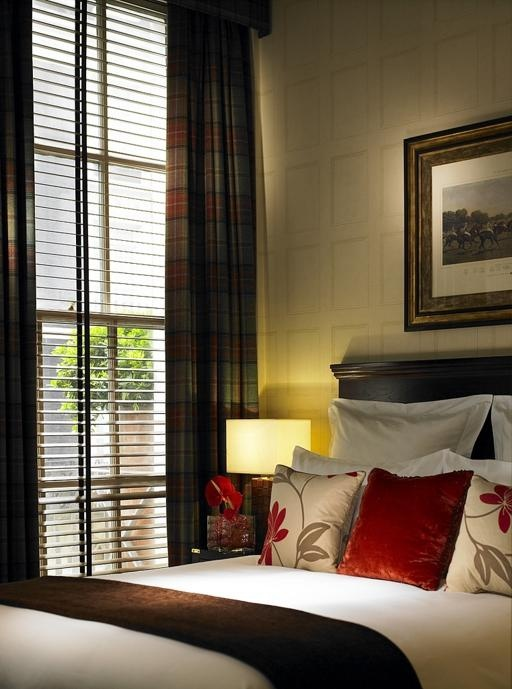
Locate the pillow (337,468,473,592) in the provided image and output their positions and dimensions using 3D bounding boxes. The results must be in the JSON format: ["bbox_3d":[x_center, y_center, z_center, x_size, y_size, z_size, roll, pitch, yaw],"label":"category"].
[{"bbox_3d":[0.463,0.556,2.016,0.109,0.357,0.365,35,-23,-26],"label":"pillow"}]

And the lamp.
[{"bbox_3d":[0.051,0.696,3.300,0.337,0.563,0.357,-8,-12,28],"label":"lamp"}]

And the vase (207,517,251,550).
[{"bbox_3d":[-0.125,0.889,3.172,0.170,0.151,0.170,3,-5,-42],"label":"vase"}]

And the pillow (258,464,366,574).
[{"bbox_3d":[0.165,0.643,2.400,0.200,0.363,0.426,3,-8,-36],"label":"pillow"}]
